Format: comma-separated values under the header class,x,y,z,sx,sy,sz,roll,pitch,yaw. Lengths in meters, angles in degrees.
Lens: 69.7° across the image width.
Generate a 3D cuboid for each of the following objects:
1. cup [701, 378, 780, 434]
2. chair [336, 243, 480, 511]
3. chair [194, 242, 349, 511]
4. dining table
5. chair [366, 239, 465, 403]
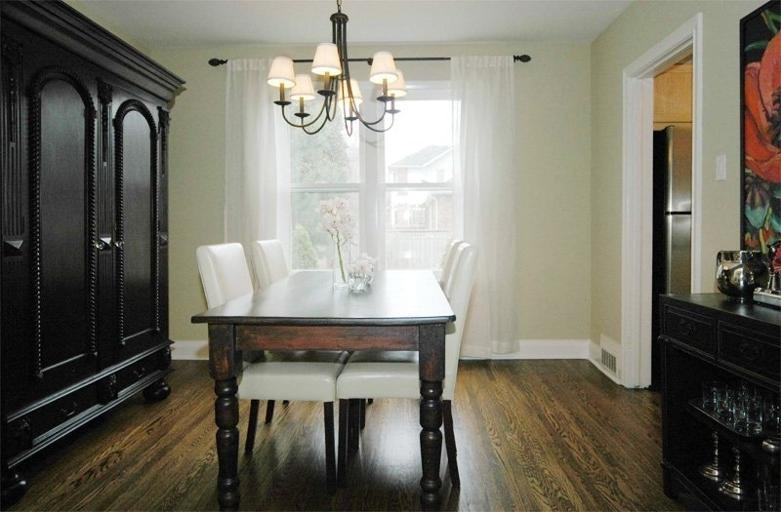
class,x,y,z,sx,sy,sz,roll,pitch,yaw
cup,1.949,0.833,3.122,0.230,0.101,0.301,-3,-2,2
chair,0.078,0.652,3.849,0.897,1.560,0.984,2,8,6
chair,-0.986,0.592,4.502,1.370,2.299,1.323,0,3,2
dining table,-0.360,0.435,3.617,1.172,0.937,2.041,-1,2,1
chair,0.141,0.484,3.818,0.850,1.049,0.768,-8,-8,14
